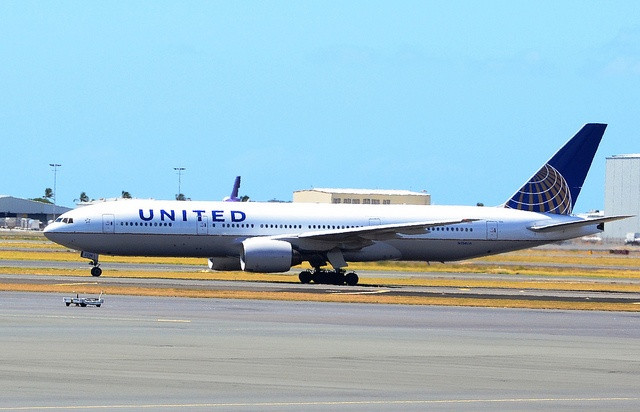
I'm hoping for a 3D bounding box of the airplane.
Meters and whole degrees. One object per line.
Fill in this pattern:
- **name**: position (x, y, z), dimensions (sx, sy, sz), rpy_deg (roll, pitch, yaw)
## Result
- **airplane**: position (0.696, -0.920, 87.806), dimensions (37.504, 10.312, 20.742), rpy_deg (1, 11, -4)
